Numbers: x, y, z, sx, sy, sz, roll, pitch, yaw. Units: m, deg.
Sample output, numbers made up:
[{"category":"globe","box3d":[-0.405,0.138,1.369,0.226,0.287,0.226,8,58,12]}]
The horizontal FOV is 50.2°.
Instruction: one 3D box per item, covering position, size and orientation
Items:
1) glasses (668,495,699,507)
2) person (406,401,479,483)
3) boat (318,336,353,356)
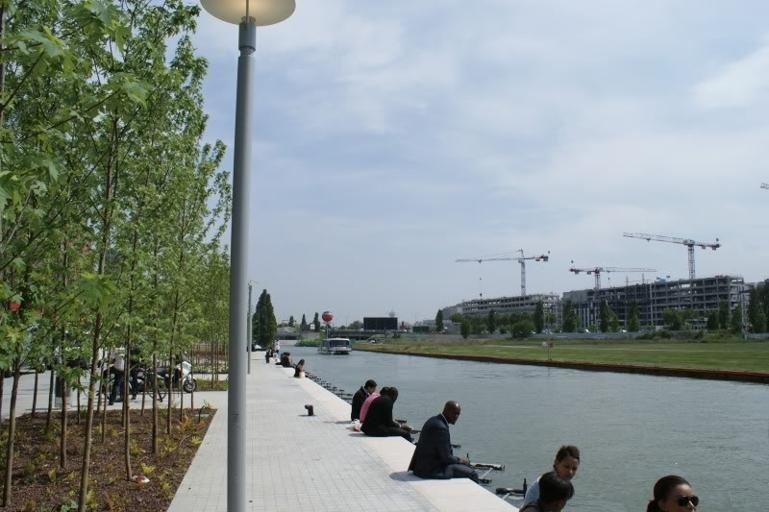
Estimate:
[{"category":"glasses","box3d":[4.938,3.971,13.356,0.373,0.184,0.132,1,-9,-15]},{"category":"person","box3d":[1.320,4.413,19.722,1.457,1.850,0.808,-1,-8,2]},{"category":"boat","box3d":[-7.654,13.815,126.513,3.772,3.109,12.584,0,-9,-8]}]
